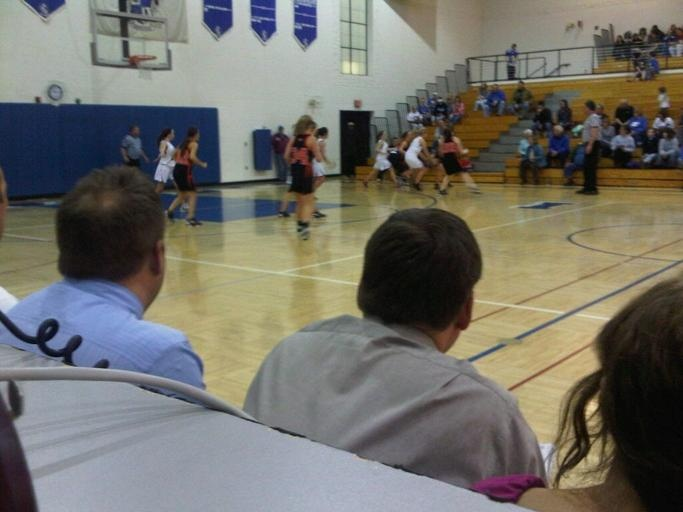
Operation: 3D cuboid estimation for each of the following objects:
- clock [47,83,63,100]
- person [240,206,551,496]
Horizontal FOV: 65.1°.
[{"bbox_3d":[-7.287,-4.135,13.550,0.353,0.382,0.367,4,12,35],"label":"clock"},{"bbox_3d":[0.236,0.293,2.157,1.124,1.133,0.665,17,15,22],"label":"person"}]
